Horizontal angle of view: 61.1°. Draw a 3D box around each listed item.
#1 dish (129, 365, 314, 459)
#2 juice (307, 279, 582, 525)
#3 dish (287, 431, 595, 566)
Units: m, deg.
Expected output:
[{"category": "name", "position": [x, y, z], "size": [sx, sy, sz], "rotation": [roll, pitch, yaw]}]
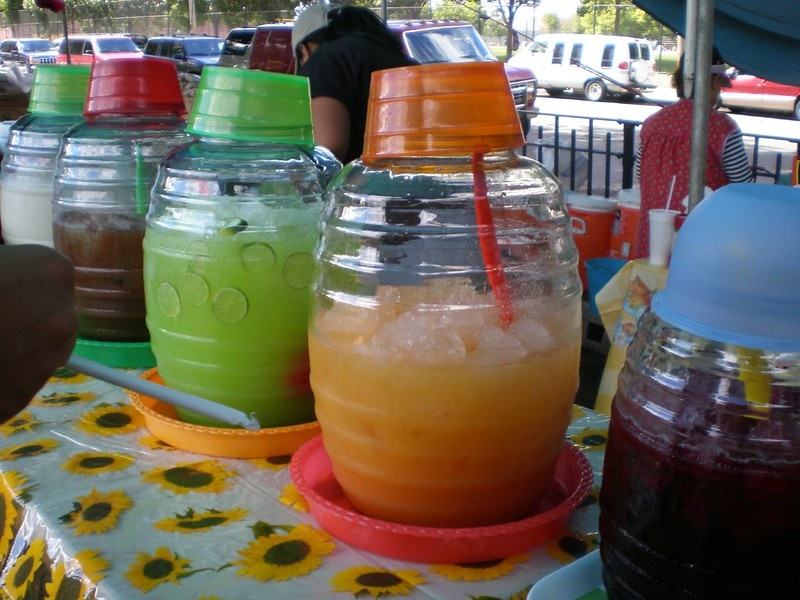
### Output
[{"category": "dish", "position": [-0.273, 0.165, 1.018], "size": [0.200, 0.025, 0.201], "rotation": [-4, 10, -42]}, {"category": "juice", "position": [0.048, 0.113, 0.926], "size": [0.417, 0.254, 0.333], "rotation": [0, 3, 5]}, {"category": "dish", "position": [0.063, 0.223, 0.806], "size": [0.239, 0.025, 0.210], "rotation": [-1, 8, -13]}]
